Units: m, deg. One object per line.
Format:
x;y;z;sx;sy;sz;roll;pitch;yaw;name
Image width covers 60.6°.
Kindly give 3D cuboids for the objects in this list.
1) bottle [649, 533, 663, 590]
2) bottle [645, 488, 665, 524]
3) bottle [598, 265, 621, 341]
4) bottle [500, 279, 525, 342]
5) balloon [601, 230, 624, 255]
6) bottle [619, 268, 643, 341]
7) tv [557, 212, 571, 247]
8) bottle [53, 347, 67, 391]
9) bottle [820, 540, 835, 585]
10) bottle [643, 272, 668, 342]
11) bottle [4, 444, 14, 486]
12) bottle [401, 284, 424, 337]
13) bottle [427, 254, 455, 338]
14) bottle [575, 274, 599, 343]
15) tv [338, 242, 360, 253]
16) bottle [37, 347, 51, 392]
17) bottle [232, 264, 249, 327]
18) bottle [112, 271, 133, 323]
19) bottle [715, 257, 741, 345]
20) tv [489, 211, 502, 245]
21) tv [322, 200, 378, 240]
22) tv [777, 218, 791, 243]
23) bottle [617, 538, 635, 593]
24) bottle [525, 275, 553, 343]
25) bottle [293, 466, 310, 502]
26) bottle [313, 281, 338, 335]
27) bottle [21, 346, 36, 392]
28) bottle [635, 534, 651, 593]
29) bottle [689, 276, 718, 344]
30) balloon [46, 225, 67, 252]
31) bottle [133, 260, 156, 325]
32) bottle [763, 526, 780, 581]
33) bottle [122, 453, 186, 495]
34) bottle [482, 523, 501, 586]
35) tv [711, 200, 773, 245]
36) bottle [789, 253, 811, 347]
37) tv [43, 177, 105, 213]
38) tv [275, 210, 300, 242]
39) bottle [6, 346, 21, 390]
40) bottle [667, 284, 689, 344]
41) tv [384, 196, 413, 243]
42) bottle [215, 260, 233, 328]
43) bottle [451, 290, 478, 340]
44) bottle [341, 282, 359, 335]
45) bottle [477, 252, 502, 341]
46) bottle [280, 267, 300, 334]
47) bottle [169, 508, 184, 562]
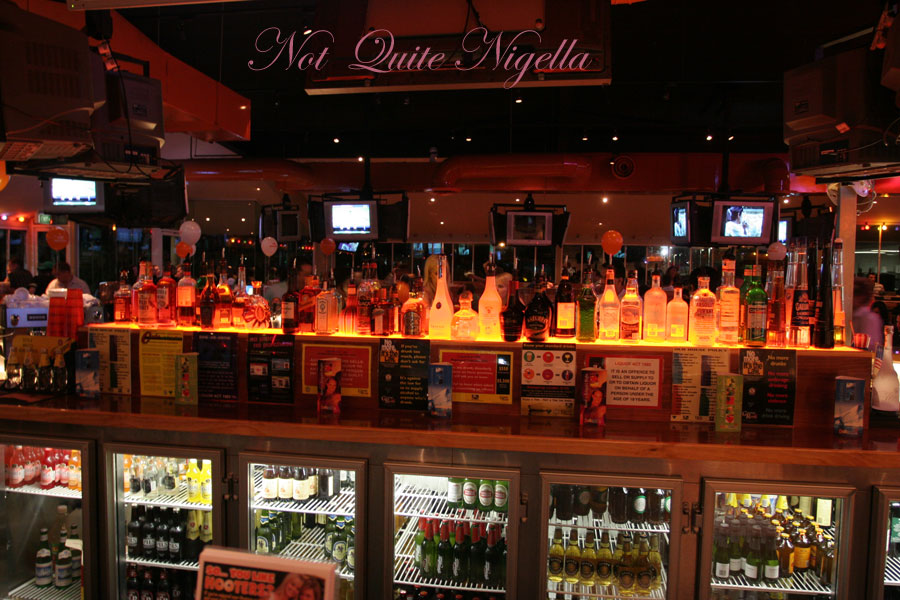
1.387;1.787;5.253;0.092;0.326;0.076;2;-4;3;bottle
1.388;1.398;5.219;0.135;0.221;0.038;1;-4;16;bottle
1.119;0.040;5.481;0.168;0.497;0.357;2;-4;11;bottle
0.451;0.078;5.545;0.162;0.441;0.360;2;-4;4;bottle
1.199;-0.423;5.736;0.125;0.218;0.331;1;-4;15;balloon
1.248;0.041;5.348;0.136;0.478;0.151;2;-4;7;bottle
1.657;-1.081;11.545;0.188;0.490;0.595;2;-4;7;tv
-2.884;0.528;5.723;0.096;0.288;0.028;2;-4;10;bottle
2.497;1.758;5.121;0.059;0.291;0.243;2;-4;13;bottle
1.411;0.052;5.344;0.145;0.463;0.182;2;-4;9;bottle
-3.188;1.193;5.558;0.068;0.285;0.049;3;-4;-3;bottle
-0.258;0.104;5.535;0.150;0.324;0.169;2;-4;13;bottle
-0.069;-0.025;5.574;0.177;0.599;0.400;3;-4;-1;bottle
0.953;0.055;5.415;0.142;0.457;0.318;2;-4;9;bottle
-1.802;-0.931;13.642;0.384;0.120;0.494;3;-4;-8;tv
-3.000;0.528;5.717;0.090;0.273;0.025;2;-4;6;bottle
-1.594;-0.032;5.878;0.113;0.470;0.277;4;-4;-15;bottle
-2.566;-0.027;6.059;0.131;0.405;0.435;4;-4;-23;bottle
1.922;0.012;5.336;0.155;0.584;0.312;1;-4;20;bottle
0.690;-1.076;11.394;0.223;0.485;0.428;2;-4;4;tv
-1.458;-1.198;11.436;1.030;0.709;0.519;1;5;9;tv
5.032;-1.039;11.667;0.140;0.381;0.522;1;-4;26;tv
1.190;1.795;5.236;0.116;0.357;0.041;2;-4;13;bottle
0.623;0.076;5.474;0.202;0.460;0.284;2;-4;7;bottle
-1.041;1.302;5.418;0.142;0.235;0.041;3;-4;-10;bottle
-0.902;0.079;5.574;0.167;0.336;0.117;3;-4;-2;bottle
-3.130;0.567;5.730;0.138;0.209;0.032;1;-4;23;bottle
1.301;1.794;5.234;0.096;0.347;0.054;1;-4;14;bottle
1.750;0.075;5.322;0.186;0.470;0.257;2;-4;8;bottle
-4.596;-0.753;9.058;0.202;0.279;0.633;4;-4;-24;balloon
-2.324;-0.057;5.881;0.173;0.499;0.248;4;-4;-24;bottle
2.160;1.708;5.212;0.113;0.358;0.030;3;-4;-6;bottle
-2.155;1.257;5.553;0.355;0.337;0.187;3;2;-11;bottle
0.287;1.757;5.331;0.113;0.423;0.079;2;-4;3;bottle
3.830;-1.044;10.253;1.037;0.704;0.522;1;6;8;tv
2.438;-0.017;5.359;0.173;0.680;0.119;2;-4;1;bottle
-4.469;-1.244;9.180;0.580;0.379;0.309;1;0;2;tv
-2.669;-1.235;12.672;0.407;0.524;0.293;2;-4;8;tv
-3.286;0.530;5.784;0.211;0.268;0.062;0;-5;35;bottle
1.595;0.103;5.398;0.177;0.397;0.117;5;-5;-35;bottle
-0.822;-1.202;11.826;0.572;0.800;0.740;1;5;-4;tv
-1.719;-0.034;5.878;0.118;0.486;0.279;4;-4;-17;bottle
0.102;0.106;5.508;0.181;0.356;0.189;2;-4;0;bottle
-0.740;0.061;5.657;0.108;0.370;0.215;4;-4;-18;bottle
0.287;0.000;5.513;0.176;0.579;0.266;2;-4;1;bottle
-1.183;0.022;5.625;0.143;0.443;0.110;1;-4;15;bottle
-1.951;1.683;5.498;0.118;0.368;0.033;2;-4;2;bottle
